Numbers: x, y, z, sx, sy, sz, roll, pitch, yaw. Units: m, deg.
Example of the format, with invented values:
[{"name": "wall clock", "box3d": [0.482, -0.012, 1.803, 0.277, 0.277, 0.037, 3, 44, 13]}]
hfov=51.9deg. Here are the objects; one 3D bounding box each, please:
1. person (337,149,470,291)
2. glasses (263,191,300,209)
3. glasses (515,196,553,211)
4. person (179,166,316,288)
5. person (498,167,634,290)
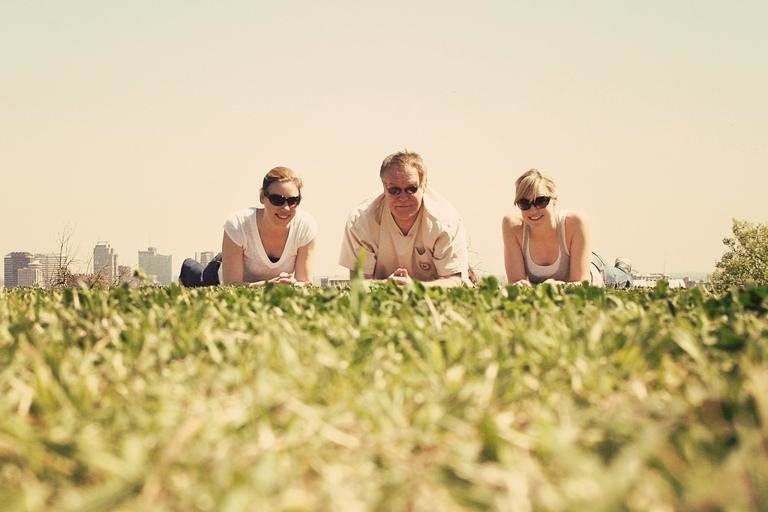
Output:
[{"name": "person", "box3d": [0.138, -0.176, 5.850, 1.082, 1.222, 0.902, 3, 29, 9]}, {"name": "glasses", "box3d": [-0.769, -0.427, 6.046, 0.269, 0.118, 0.134, 2, -11, -15]}, {"name": "glasses", "box3d": [1.140, -0.401, 5.992, 0.270, 0.111, 0.187, -1, -11, 2]}, {"name": "person", "box3d": [-1.192, -0.099, 6.879, 0.812, 1.048, 2.223, 4, -8, -29]}, {"name": "person", "box3d": [1.566, -0.131, 6.822, 0.727, 1.021, 2.126, -3, -4, 31]}]
